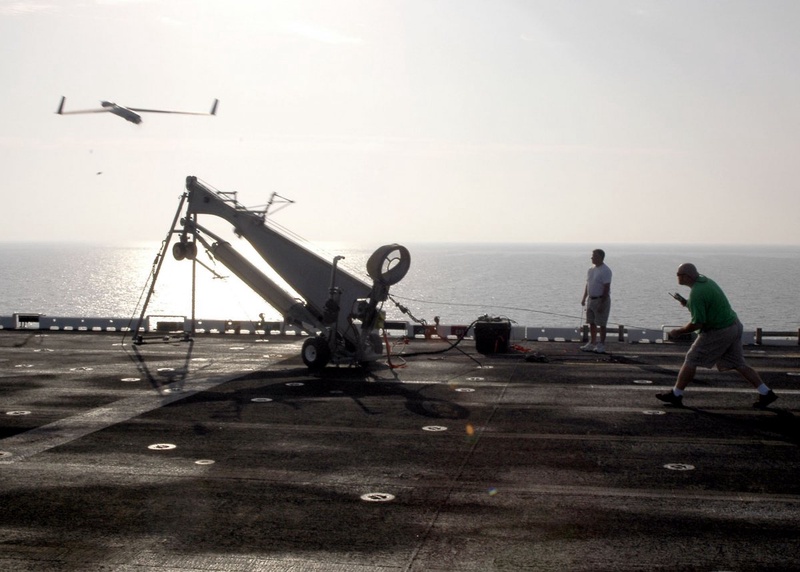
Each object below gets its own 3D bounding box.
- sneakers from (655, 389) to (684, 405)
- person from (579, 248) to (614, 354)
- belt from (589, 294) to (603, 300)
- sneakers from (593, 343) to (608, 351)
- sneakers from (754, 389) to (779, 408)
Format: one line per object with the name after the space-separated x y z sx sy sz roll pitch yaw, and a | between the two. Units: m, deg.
4.681 1.910 12.756 0.619 0.237 0.204 9 7 19 | sneakers
5.465 0.379 20.013 0.739 2.791 0.981 1 4 12 | person
5.410 0.277 19.751 0.324 0.116 0.096 2 5 35 | belt
5.526 1.654 20.001 0.311 0.239 0.402 1 4 21 | sneakers
6.257 1.885 12.388 0.251 0.228 0.573 -22 2 12 | sneakers
